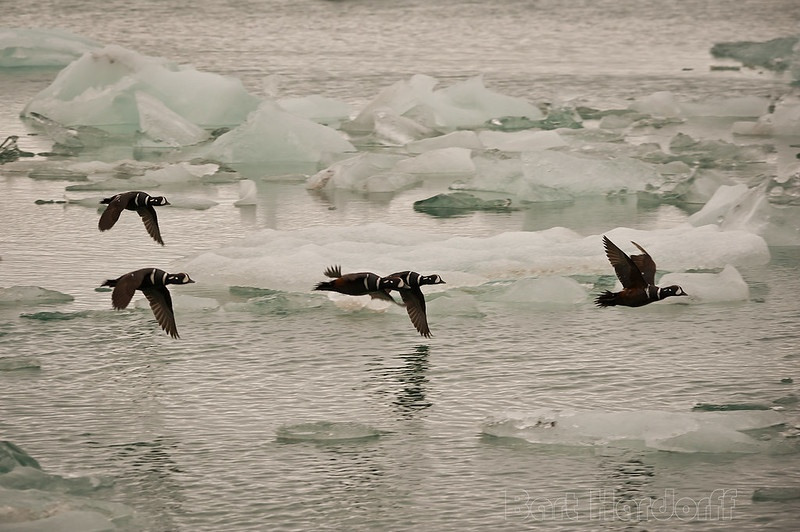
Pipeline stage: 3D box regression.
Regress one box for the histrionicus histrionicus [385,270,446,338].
[{"bbox_3d":[0.125,0.286,6.785,0.332,0.553,0.495,-11,29,-13],"label":"histrionicus histrionicus"}]
